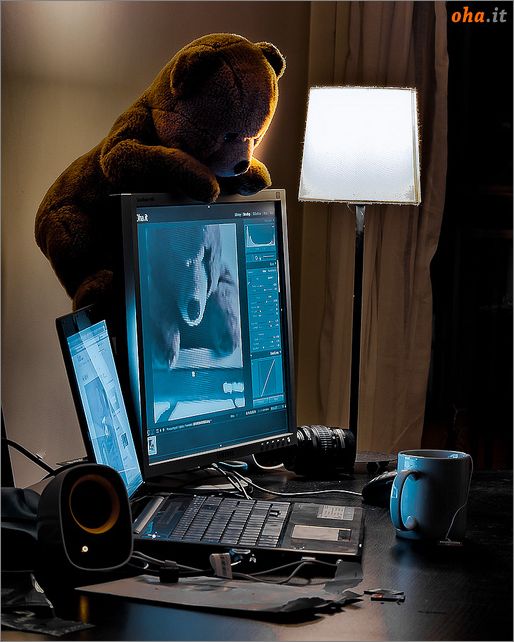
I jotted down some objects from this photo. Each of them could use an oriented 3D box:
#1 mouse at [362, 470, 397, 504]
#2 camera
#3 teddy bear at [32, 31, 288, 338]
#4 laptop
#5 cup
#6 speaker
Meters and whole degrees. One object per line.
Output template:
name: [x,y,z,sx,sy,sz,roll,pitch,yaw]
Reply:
mouse: [0.176,0.238,0.868,0.051,0.055,0.035,1,0,33]
camera: [0.117,0.228,1.008,0.084,0.094,0.060,0,-6,-1]
teddy bear: [-0.205,-0.250,1.202,0.447,0.556,0.322,4,4,27]
laptop: [-0.054,0.113,0.728,0.324,0.276,0.219,-1,-1,5]
cup: [0.194,0.212,0.710,0.065,0.098,0.106,2,1,41]
speaker: [-0.163,0.192,0.563,0.067,0.097,0.052,15,-34,-38]
